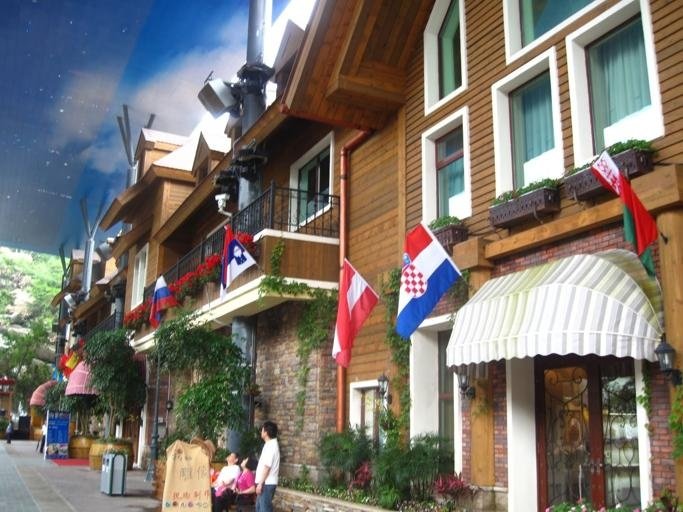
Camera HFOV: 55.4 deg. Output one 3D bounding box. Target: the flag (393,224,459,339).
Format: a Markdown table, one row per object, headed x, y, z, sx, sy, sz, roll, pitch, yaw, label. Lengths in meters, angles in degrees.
| x | y | z | sx | sy | sz | roll | pitch | yaw | label |
| --- | --- | --- | --- | --- | --- | --- | --- | --- | --- |
| 1.776 | 0.570 | 13.200 | 1.590 | 1.710 | 0.226 | -43 | -20 | 8 | flag |

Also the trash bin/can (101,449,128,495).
| x | y | z | sx | sy | sz | roll | pitch | yaw | label |
| --- | --- | --- | --- | --- | --- | --- | --- | --- | --- |
| -6.310 | 5.998 | 17.986 | 0.654 | 1.139 | 0.915 | 8 | -21 | -20 | trash bin/can |

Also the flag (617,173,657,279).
| x | y | z | sx | sy | sz | roll | pitch | yaw | label |
| --- | --- | --- | --- | --- | --- | --- | --- | --- | --- |
| 4.822 | -0.637 | 10.539 | 0.369 | 1.677 | 1.210 | -12 | -23 | 34 | flag |

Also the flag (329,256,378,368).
| x | y | z | sx | sy | sz | roll | pitch | yaw | label |
| --- | --- | --- | --- | --- | --- | --- | --- | --- | --- |
| 0.267 | 1.235 | 14.867 | 0.891 | 2.410 | 0.554 | 1 | -18 | -1 | flag |

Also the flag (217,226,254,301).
| x | y | z | sx | sy | sz | roll | pitch | yaw | label |
| --- | --- | --- | --- | --- | --- | --- | --- | --- | --- |
| -2.830 | 0.257 | 17.507 | 1.091 | 2.168 | 0.198 | -28 | -27 | 27 | flag |
